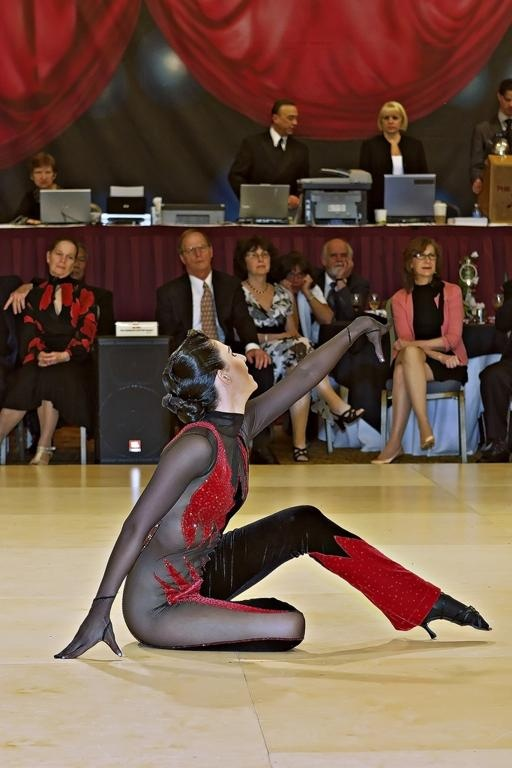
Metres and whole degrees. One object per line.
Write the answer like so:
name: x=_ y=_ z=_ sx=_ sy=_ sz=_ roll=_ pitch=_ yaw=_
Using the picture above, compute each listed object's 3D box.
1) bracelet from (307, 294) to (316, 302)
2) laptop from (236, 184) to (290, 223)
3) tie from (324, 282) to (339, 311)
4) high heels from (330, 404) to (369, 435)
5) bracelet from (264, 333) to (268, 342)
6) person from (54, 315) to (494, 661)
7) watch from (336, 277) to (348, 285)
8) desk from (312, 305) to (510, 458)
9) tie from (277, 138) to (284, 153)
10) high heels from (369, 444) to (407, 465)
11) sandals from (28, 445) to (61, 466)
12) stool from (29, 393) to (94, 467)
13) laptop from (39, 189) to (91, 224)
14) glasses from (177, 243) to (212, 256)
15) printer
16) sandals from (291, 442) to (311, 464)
bracelet: x=0.406 y=-0.624 z=4.910 sx=0.062 sy=0.059 sz=0.015 roll=11 pitch=-33 yaw=-25
laptop: x=0.078 y=-1.404 z=5.412 sx=0.447 sy=0.338 sz=0.309 roll=1 pitch=7 yaw=1
tie: x=0.570 y=-0.647 z=5.011 sx=0.057 sy=0.247 sz=0.065 roll=-14 pitch=-37 yaw=13
high heels: x=0.620 y=0.226 z=4.505 sx=0.275 sy=0.105 sz=0.095 roll=-35 pitch=-3 yaw=21
bracelet: x=0.070 y=-0.307 z=4.570 sx=0.011 sy=0.040 sz=0.041 roll=-12 pitch=13 yaw=-35
person: x=0.197 y=0.145 z=1.594 sx=1.188 sy=0.843 sz=0.454 roll=-2 pitch=22 yaw=-5
watch: x=0.651 y=-0.753 z=5.031 sx=0.075 sy=0.047 sz=0.069 roll=-1 pitch=-15 yaw=-19
desk: x=1.114 y=0.158 z=4.922 sx=1.410 sy=0.990 sz=0.899 roll=-1 pitch=-4 yaw=0
tie: x=0.219 y=-2.134 z=5.994 sx=0.063 sy=0.127 sz=0.022 roll=-1 pitch=1 yaw=-1
high heels: x=0.813 y=0.443 z=4.182 sx=0.098 sy=0.112 sz=0.290 roll=2 pitch=3 yaw=39
sandals: x=-1.319 y=0.444 z=4.130 sx=0.083 sy=0.078 sz=0.222 roll=-1 pitch=3 yaw=4
stool: x=-1.174 y=0.308 z=4.151 sx=0.244 sy=0.535 sz=0.495 roll=-2 pitch=-18 yaw=5
laptop: x=-1.506 y=-1.383 z=5.279 sx=0.403 sy=0.262 sz=0.277 roll=0 pitch=7 yaw=-2
glasses: x=-0.406 y=-0.887 z=4.495 sx=0.202 sy=0.093 sz=0.118 roll=-1 pitch=0 yaw=-9
printer: x=0.659 y=-1.473 z=5.666 sx=0.685 sy=0.434 sz=0.465 roll=0 pitch=0 yaw=0
sandals: x=0.293 y=0.455 z=4.356 sx=0.092 sy=0.053 sz=0.228 roll=-1 pitch=10 yaw=-2
